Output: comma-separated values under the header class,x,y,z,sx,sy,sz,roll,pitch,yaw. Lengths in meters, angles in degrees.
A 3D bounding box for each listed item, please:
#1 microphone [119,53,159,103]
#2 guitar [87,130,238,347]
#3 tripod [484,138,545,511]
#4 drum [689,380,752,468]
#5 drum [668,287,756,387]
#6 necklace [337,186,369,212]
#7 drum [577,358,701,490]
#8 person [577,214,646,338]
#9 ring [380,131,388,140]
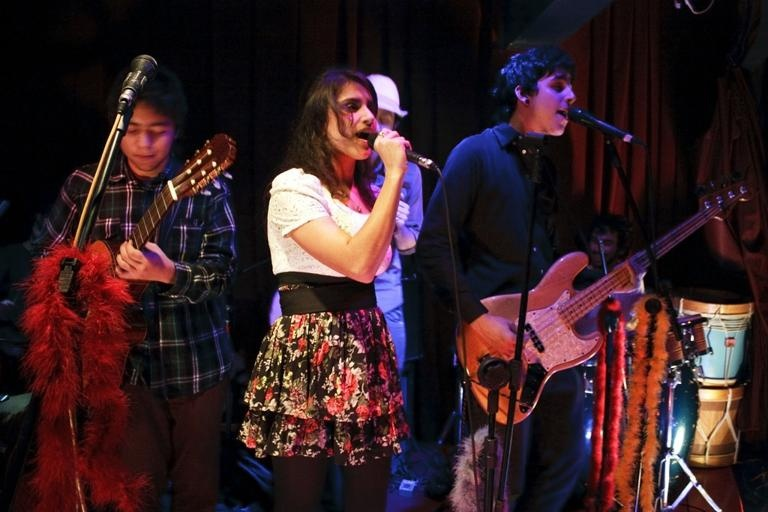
class,x,y,z,sx,sy,sz,roll,pitch,yaw
microphone,-1.048,-0.746,3.052,0.124,0.298,0.224,5,-14,-18
guitar,-1.041,-0.068,3.187,0.452,1.124,0.161,43,10,17
tripod,0.591,0.266,3.253,0.294,1.711,0.668,-1,-13,10
drum,2.144,1.088,4.818,0.492,0.508,0.501,0,3,7
drum,2.168,0.496,4.859,0.569,0.650,0.602,-2,8,-3
necklace,-0.148,-0.229,3.098,0.114,0.114,0.034,43,-43,-17
drum,1.478,0.959,4.294,0.738,0.697,0.690,-3,4,-30
person,1.357,0.082,4.364,0.375,0.856,0.118,10,-5,9
ring,-0.005,-0.492,2.908,0.028,0.028,0.010,25,-31,37
